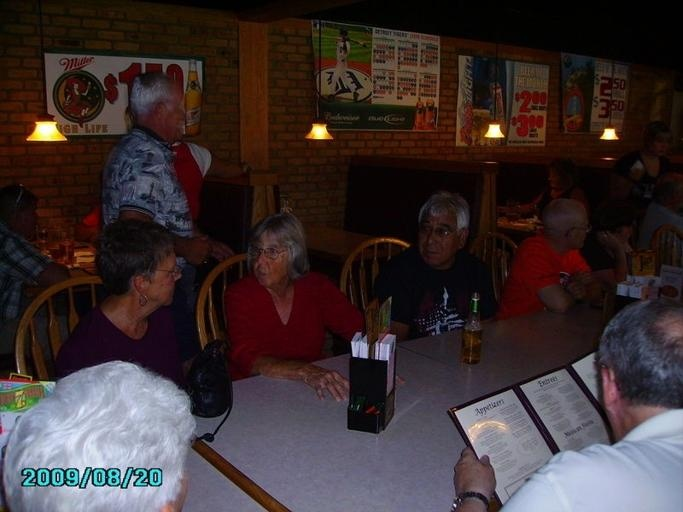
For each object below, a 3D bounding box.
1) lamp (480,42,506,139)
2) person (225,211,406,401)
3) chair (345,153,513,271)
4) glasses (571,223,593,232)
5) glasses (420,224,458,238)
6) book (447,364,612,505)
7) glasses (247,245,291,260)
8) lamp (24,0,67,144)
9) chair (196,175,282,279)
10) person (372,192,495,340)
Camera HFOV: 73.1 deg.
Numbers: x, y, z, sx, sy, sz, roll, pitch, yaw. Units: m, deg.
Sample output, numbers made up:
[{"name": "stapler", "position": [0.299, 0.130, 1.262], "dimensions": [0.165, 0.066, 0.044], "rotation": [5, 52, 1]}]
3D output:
[{"name": "lamp", "position": [2.319, -2.385, 6.863], "dimensions": [0.206, 1.396, 0.448], "rotation": [9, 17, 35]}, {"name": "person", "position": [-0.220, 0.376, 2.051], "dimensions": [0.600, 1.057, 0.552], "rotation": [-2, 8, -24]}, {"name": "chair", "position": [0.699, -0.387, 4.063], "dimensions": [0.400, 0.786, 1.094], "rotation": [-18, 34, -41]}, {"name": "glasses", "position": [1.302, -0.148, 2.513], "dimensions": [0.071, 0.023, 0.073], "rotation": [-4, 14, -21]}, {"name": "glasses", "position": [0.492, -0.125, 2.361], "dimensions": [0.174, 0.058, 0.060], "rotation": [4, 14, 16]}, {"name": "book", "position": [0.497, 0.506, 1.310], "dimensions": [0.419, 0.090, 0.276], "rotation": [-11, 59, -32]}, {"name": "glasses", "position": [-0.329, -0.009, 2.012], "dimensions": [0.188, 0.057, 0.061], "rotation": [4, 14, 15]}, {"name": "lamp", "position": [-2.635, -1.607, 3.990], "dimensions": [0.318, 1.238, 0.600], "rotation": [-8, 16, -31]}, {"name": "chair", "position": [-0.664, -0.199, 3.039], "dimensions": [0.357, 0.713, 0.693], "rotation": [-8, 13, -39]}, {"name": "person", "position": [0.502, 0.157, 2.408], "dimensions": [0.618, 0.868, 0.567], "rotation": [-1, 18, 13]}]
